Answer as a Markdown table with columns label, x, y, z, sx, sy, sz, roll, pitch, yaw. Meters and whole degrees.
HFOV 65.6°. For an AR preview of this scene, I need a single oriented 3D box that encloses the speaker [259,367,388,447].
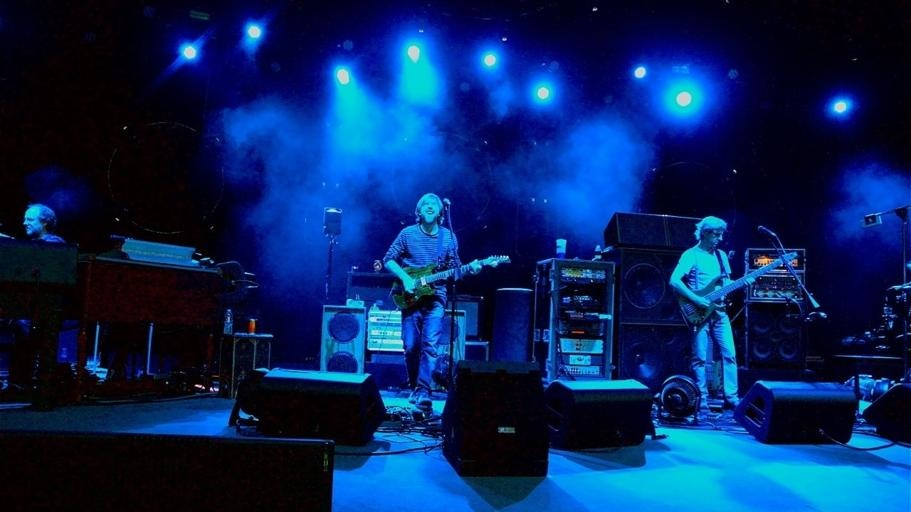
| label | x | y | z | sx | sy | sz | roll | pitch | yaw |
| --- | --- | --- | --- | --- | --- | --- | --- | --- | --- |
| speaker | -1.733 | 1.870 | 9.134 | 1.419 | 0.812 | 1.119 | 2 | -10 | 5 |

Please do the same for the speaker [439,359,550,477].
| label | x | y | z | sx | sy | sz | roll | pitch | yaw |
| --- | --- | --- | --- | --- | --- | --- | --- | --- | --- |
| speaker | 0.314 | 1.926 | 8.840 | 1.407 | 1.325 | 1.184 | 9 | -5 | -32 |

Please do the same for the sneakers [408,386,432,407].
| label | x | y | z | sx | sy | sz | roll | pitch | yaw |
| --- | --- | --- | --- | --- | --- | --- | --- | --- | --- |
| sneakers | -0.484 | 2.021 | 10.242 | 0.254 | 0.276 | 0.696 | 4 | -8 | -7 |

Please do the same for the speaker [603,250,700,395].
| label | x | y | z | sx | sy | sz | roll | pitch | yaw |
| --- | --- | --- | --- | --- | --- | --- | --- | --- | --- |
| speaker | 2.991 | 1.053 | 12.115 | 1.669 | 2.310 | 1.635 | 0 | -1 | 5 |

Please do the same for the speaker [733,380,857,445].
| label | x | y | z | sx | sy | sz | roll | pitch | yaw |
| --- | --- | --- | --- | --- | --- | --- | --- | --- | --- |
| speaker | 4.723 | 2.074 | 9.688 | 1.369 | 0.727 | 1.020 | 4 | 10 | -5 |

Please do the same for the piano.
| label | x | y | z | sx | sy | sz | roll | pitch | yaw |
| --- | --- | --- | --- | --- | --- | --- | --- | --- | --- |
| piano | -4.875 | 0.785 | 11.291 | 2.602 | 2.269 | 1.797 | 3 | -1 | -36 |

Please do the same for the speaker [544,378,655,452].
| label | x | y | z | sx | sy | sz | roll | pitch | yaw |
| --- | --- | --- | --- | --- | --- | --- | --- | --- | --- |
| speaker | 1.883 | 2.005 | 9.018 | 1.364 | 0.845 | 0.931 | 1 | -6 | -13 |

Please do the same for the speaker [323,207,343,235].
| label | x | y | z | sx | sy | sz | roll | pitch | yaw |
| --- | --- | --- | --- | --- | --- | --- | --- | --- | --- |
| speaker | -2.110 | -0.601 | 12.420 | 0.451 | 0.571 | 0.436 | 1 | -7 | -8 |

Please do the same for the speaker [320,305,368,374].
| label | x | y | z | sx | sy | sz | roll | pitch | yaw |
| --- | --- | --- | --- | --- | --- | --- | --- | --- | --- |
| speaker | -1.843 | 1.515 | 11.827 | 0.720 | 1.105 | 0.675 | 1 | -2 | 11 |
